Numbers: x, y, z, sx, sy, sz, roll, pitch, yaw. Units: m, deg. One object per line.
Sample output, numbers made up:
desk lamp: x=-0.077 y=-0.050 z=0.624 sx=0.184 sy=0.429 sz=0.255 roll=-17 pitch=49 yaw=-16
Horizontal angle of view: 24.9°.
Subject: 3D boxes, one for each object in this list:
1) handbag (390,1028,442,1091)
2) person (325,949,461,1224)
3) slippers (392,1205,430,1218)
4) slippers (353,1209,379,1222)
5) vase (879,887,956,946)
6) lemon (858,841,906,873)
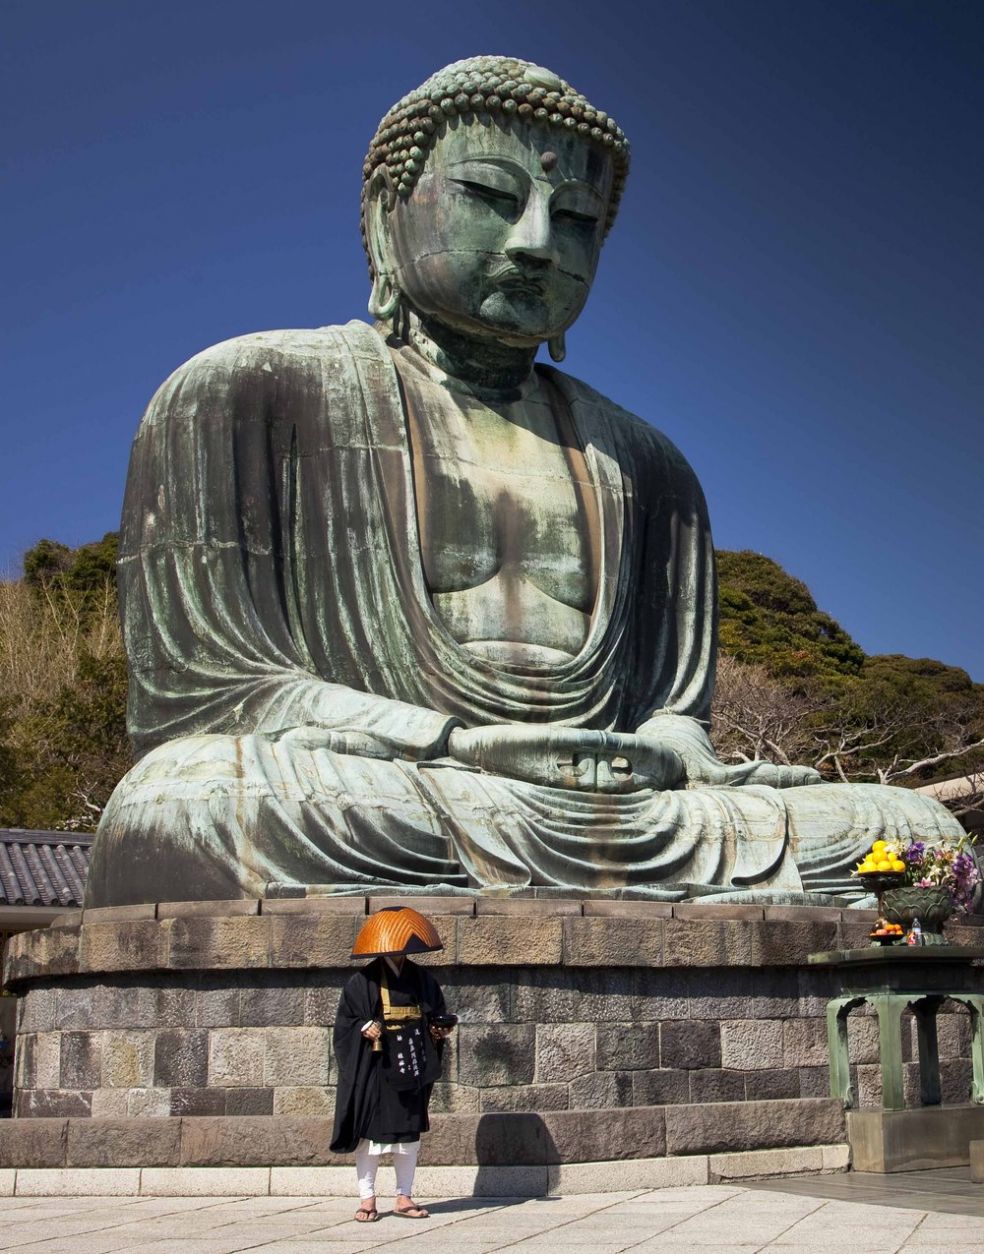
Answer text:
handbag: x=-0.270 y=1.453 z=7.474 sx=0.151 sy=0.203 sz=0.105 roll=12 pitch=-36 yaw=-31
person: x=-0.339 y=1.528 z=7.459 sx=0.410 sy=0.822 sz=0.491 roll=0 pitch=3 yaw=-2
slippers: x=-0.271 y=1.928 z=7.308 sx=0.081 sy=0.027 sz=0.044 roll=-2 pitch=-5 yaw=12
slippers: x=-0.414 y=1.926 z=7.265 sx=0.072 sy=0.035 sz=0.103 roll=0 pitch=3 yaw=-4
vase: x=1.659 y=1.124 z=8.695 sx=0.244 sy=0.225 sz=0.242 roll=-1 pitch=3 yaw=-22
lemon: x=1.532 y=0.920 z=8.777 sx=0.184 sy=0.115 sz=0.206 roll=1 pitch=3 yaw=20
